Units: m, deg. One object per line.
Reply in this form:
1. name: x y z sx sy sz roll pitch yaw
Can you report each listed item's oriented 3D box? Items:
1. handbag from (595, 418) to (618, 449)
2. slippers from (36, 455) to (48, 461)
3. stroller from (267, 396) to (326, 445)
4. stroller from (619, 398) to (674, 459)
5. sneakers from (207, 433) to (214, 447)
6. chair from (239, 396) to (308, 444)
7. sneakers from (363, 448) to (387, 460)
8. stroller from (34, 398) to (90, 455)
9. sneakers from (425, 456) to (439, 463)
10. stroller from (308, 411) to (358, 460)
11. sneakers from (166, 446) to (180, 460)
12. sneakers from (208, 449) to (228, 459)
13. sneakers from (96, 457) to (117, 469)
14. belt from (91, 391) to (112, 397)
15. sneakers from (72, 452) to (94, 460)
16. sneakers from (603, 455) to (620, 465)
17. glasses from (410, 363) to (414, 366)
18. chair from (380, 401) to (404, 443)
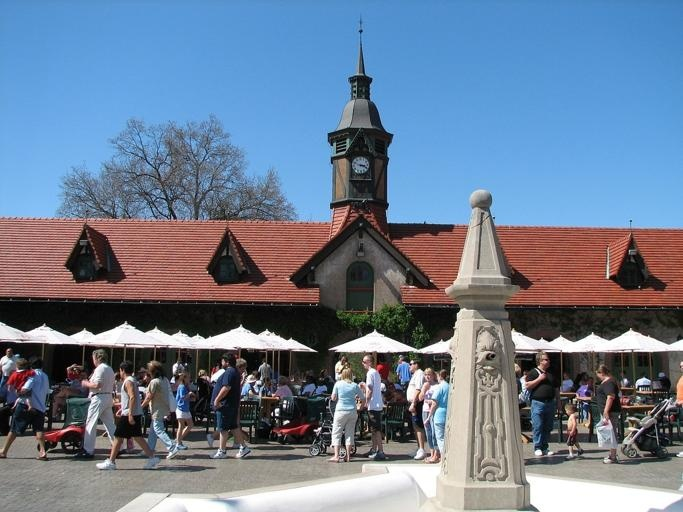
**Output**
1. handbag: 6.189 4.167 20.221 0.391 0.675 0.338 -5 -16 18
2. slippers: -6.854 4.652 19.850 0.198 0.078 0.102 8 -9 0
3. stroller: -1.221 4.415 23.193 1.075 0.975 1.550 -1 1 41
4. stroller: 7.454 4.203 21.167 1.119 1.348 0.876 -3 -6 9
5. sneakers: -3.401 4.796 22.406 0.183 0.403 0.134 -6 2 2
6. chair: -1.884 4.502 23.748 1.507 0.739 1.495 0 -3 1
7. sneakers: 0.812 4.808 20.788 0.537 0.229 0.180 -4 -11 26
8. stroller: -6.822 4.049 20.851 1.023 1.346 1.144 0 -11 20
9. sneakers: 2.095 4.780 20.218 0.412 0.171 0.125 20 -29 -40
10. stroller: -0.170 4.627 21.940 1.323 1.351 0.828 2 -14 1
11. sneakers: -3.939 4.606 20.155 0.193 0.254 0.560 10 -19 -16
12. sneakers: -2.931 4.708 20.510 0.412 0.173 0.200 3 -17 2
13. sneakers: -5.204 4.589 19.054 0.432 0.194 0.213 4 -17 5
14. belt: -5.561 3.217 19.949 0.465 0.135 0.291 4 -16 -15
15. sneakers: -6.013 4.680 20.164 0.452 0.188 0.166 5 -11 -1
16. sneakers: 6.367 4.829 20.302 0.440 0.173 0.141 3 -18 5
17. glasses: 1.844 2.819 22.388 0.069 0.072 0.023 -7 4 21
18. chair: 1.395 4.519 23.634 0.701 1.057 0.801 -8 -17 34
